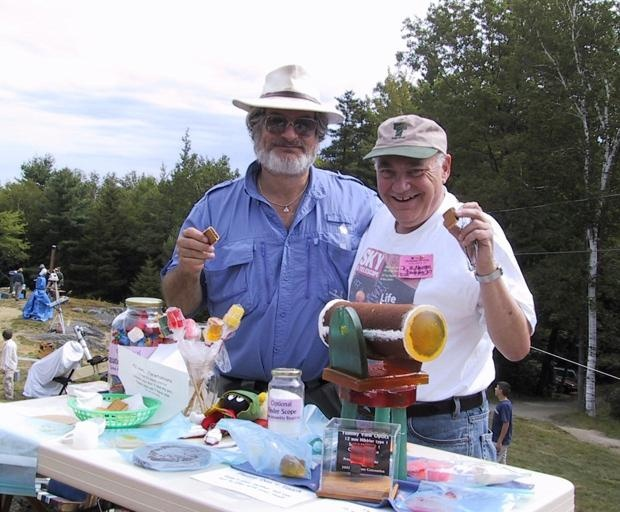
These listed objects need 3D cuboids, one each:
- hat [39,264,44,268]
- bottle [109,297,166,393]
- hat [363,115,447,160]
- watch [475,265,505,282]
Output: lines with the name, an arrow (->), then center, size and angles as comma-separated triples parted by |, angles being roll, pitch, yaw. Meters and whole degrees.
hat -> -27.230, 1.166, 47.289 | 0.330, 0.372, 0.286 | 39, 42, 17
bottle -> -0.899, 0.478, 2.397 | 0.257, 0.490, 0.450 | 11, -5, -21
hat -> 0.526, -0.630, 2.458 | 0.254, 0.172, 0.368 | 2, 0, 41
watch -> 0.789, 0.089, 2.049 | 0.108, 0.085, 0.068 | 8, -4, 18
